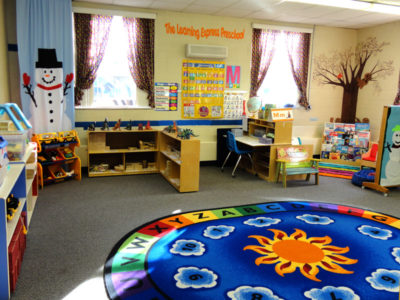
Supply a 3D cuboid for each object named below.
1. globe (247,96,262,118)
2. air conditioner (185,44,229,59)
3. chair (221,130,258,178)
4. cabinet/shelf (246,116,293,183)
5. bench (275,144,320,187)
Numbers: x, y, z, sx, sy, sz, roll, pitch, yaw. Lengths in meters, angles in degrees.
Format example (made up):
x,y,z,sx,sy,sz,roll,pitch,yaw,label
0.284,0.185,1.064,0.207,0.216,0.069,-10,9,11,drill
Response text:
x,y,z,sx,sy,sz,roll,pitch,yaw,label
1.419,-1.128,7.661,0.370,0.536,0.540,3,12,9,globe
0.157,-2.471,7.347,1.045,0.287,0.250,-2,12,-17,air conditioner
0.965,0.056,7.242,0.789,1.039,0.740,-7,10,-41,chair
1.679,0.022,6.921,0.522,1.416,1.408,-1,5,-8,cabinet/shelf
2.203,0.348,6.640,0.988,0.820,0.595,-2,11,-14,bench
